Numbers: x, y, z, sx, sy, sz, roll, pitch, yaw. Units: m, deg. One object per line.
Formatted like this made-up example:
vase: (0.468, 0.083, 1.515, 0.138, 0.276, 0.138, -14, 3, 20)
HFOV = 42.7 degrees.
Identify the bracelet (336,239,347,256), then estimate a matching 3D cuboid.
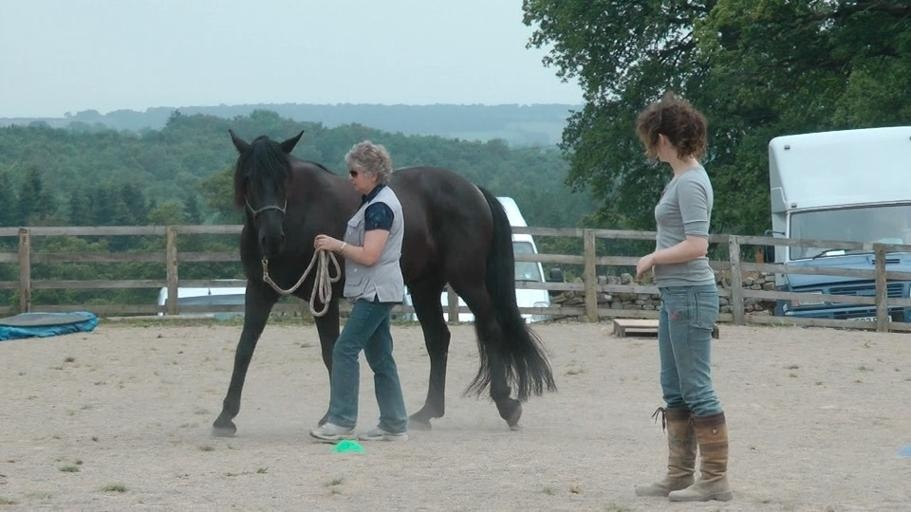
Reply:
bracelet: (-2.153, -0.151, 22.325, 0.112, 0.218, 0.231, 5, 6, -6)
